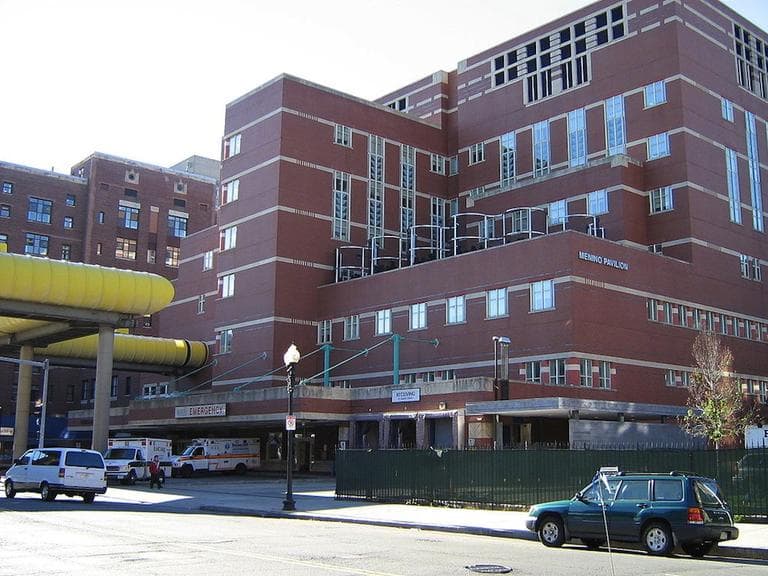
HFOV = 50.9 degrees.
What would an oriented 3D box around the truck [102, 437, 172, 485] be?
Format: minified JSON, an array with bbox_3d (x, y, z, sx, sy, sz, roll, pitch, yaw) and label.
[{"bbox_3d":[-16.063,11.147,52.797,3.277,2.456,4.735,-9,-21,22],"label":"truck"}]

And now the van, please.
[{"bbox_3d":[-14.973,8.252,35.801,5.286,2.221,1.911,-6,-19,22],"label":"van"}]
